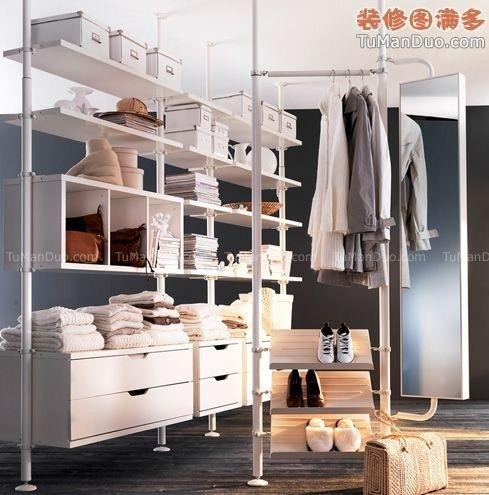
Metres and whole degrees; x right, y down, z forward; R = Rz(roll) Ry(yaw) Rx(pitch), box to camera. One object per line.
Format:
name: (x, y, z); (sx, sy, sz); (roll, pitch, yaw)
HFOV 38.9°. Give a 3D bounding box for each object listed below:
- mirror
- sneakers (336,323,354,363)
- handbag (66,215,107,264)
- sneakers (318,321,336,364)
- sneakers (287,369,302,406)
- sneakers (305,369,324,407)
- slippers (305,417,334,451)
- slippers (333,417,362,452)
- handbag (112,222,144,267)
mirror: (1.008, -0.057, 3.695); (0.359, 1.710, 0.204); (-1, -4, 12)
sneakers: (0.528, 0.500, 3.627); (0.091, 0.194, 0.249); (-1, -4, 9)
handbag: (-0.854, -0.042, 3.671); (0.211, 0.260, 0.081); (-1, 0, -5)
sneakers: (0.433, 0.501, 3.633); (0.088, 0.197, 0.252); (-1, -4, 7)
sneakers: (0.264, 0.745, 3.666); (0.068, 0.058, 0.204); (0, 33, 6)
sneakers: (0.370, 0.751, 3.651); (0.066, 0.060, 0.199); (-4, 26, 5)
slippers: (0.381, 0.987, 3.609); (0.108, 0.145, 0.148); (0, -13, -2)
slippers: (0.538, 0.979, 3.626); (0.100, 0.070, 0.178); (0, 8, 3)
handbag: (-0.670, -0.008, 3.958); (0.258, 0.224, 0.097); (0, -10, 11)
